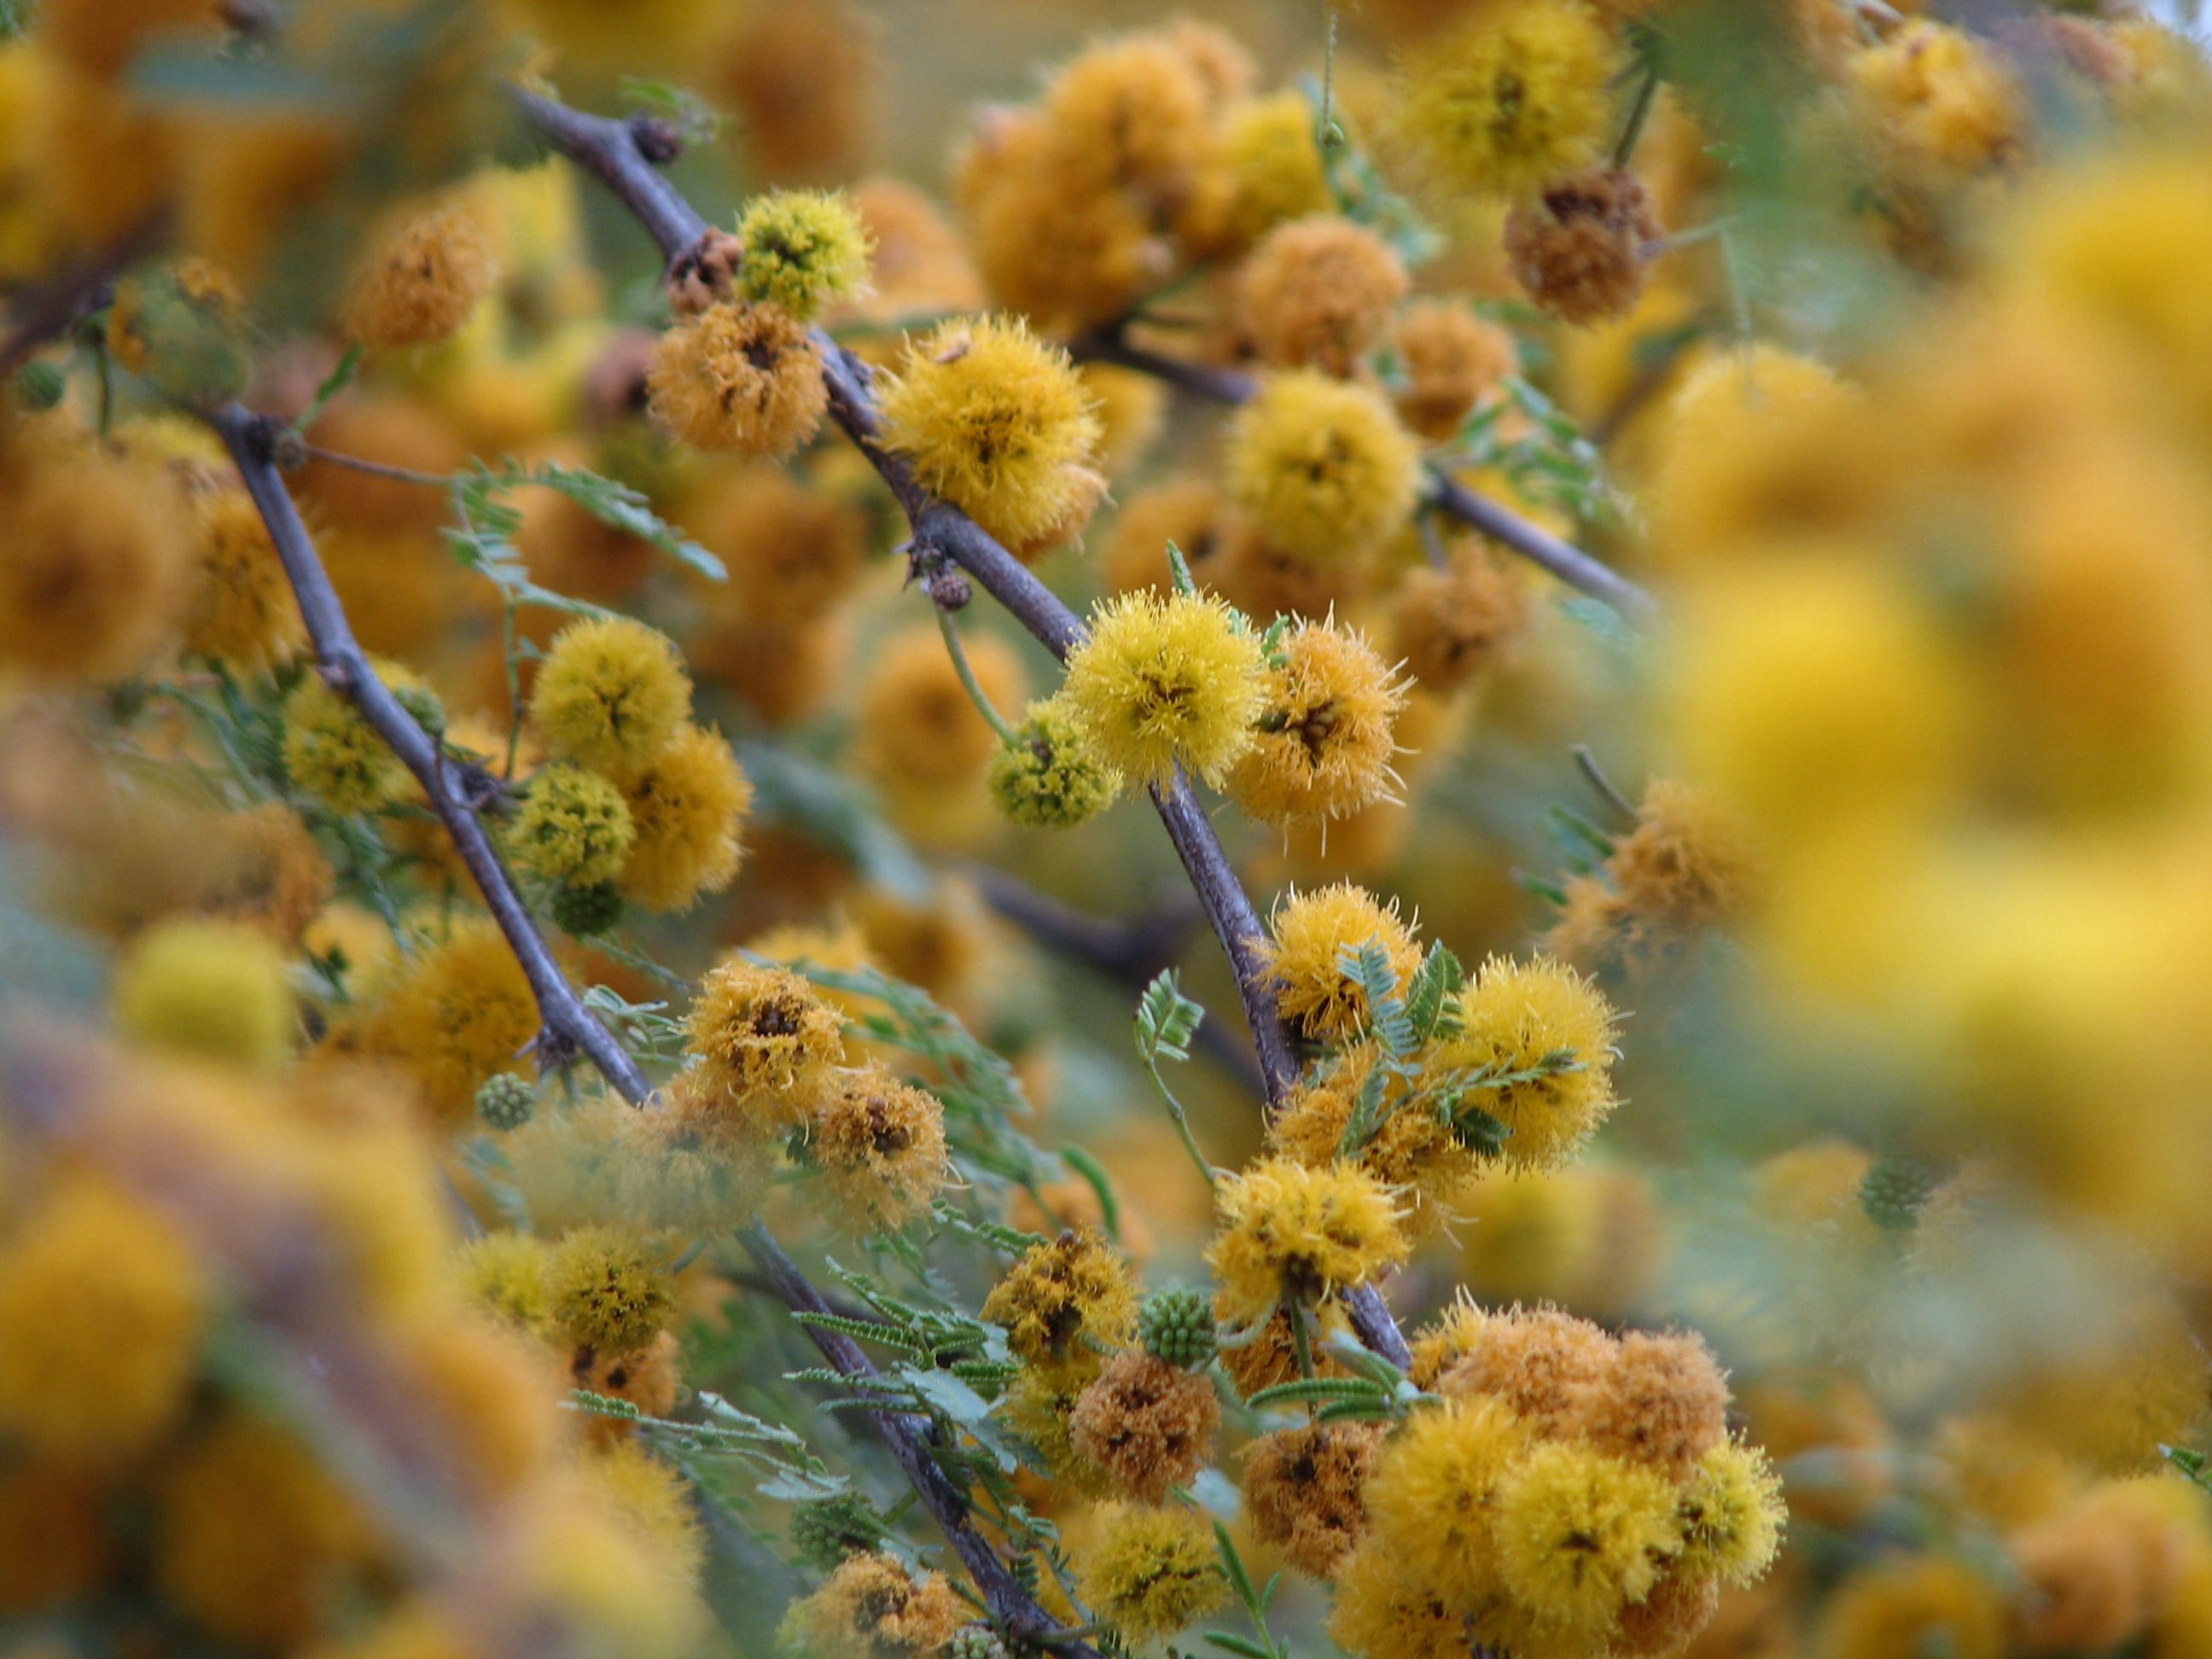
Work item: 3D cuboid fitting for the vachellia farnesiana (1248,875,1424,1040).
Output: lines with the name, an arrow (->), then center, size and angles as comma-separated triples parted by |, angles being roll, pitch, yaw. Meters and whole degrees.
vachellia farnesiana -> 0.111, 0.044, 1.661 | 0.065, 0.074, 0.072 | -10, 35, 9

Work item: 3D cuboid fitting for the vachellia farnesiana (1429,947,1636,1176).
vachellia farnesiana -> 0.200, 0.107, 1.637 | 0.081, 0.096, 0.093 | -14, 41, -2
